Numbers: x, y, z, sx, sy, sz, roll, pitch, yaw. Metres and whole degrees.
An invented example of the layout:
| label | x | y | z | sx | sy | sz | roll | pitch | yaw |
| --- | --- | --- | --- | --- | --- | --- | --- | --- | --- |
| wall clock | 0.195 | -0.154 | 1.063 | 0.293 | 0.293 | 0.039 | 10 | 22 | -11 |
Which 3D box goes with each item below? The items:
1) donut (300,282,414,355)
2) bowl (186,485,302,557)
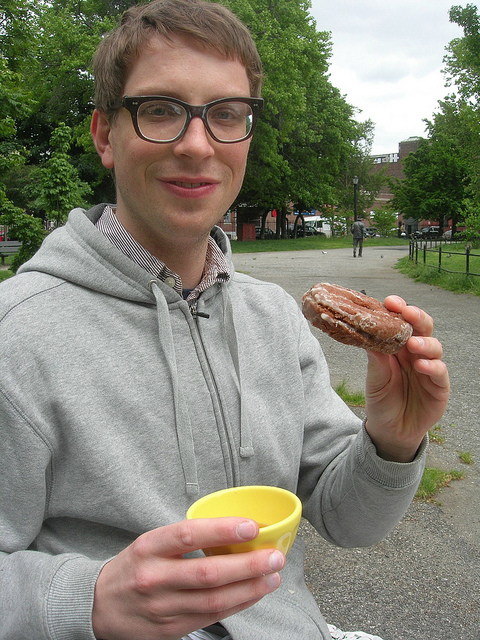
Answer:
| label | x | y | z | sx | sy | sz | roll | pitch | yaw |
| --- | --- | --- | --- | --- | --- | --- | --- | --- | --- |
| donut | 0.302 | -0.046 | 1.665 | 0.243 | 0.079 | 0.276 | 14 | 13 | -46 |
| bowl | 0.030 | 0.477 | 1.376 | 0.246 | 0.121 | 0.227 | -8 | -3 | 0 |
